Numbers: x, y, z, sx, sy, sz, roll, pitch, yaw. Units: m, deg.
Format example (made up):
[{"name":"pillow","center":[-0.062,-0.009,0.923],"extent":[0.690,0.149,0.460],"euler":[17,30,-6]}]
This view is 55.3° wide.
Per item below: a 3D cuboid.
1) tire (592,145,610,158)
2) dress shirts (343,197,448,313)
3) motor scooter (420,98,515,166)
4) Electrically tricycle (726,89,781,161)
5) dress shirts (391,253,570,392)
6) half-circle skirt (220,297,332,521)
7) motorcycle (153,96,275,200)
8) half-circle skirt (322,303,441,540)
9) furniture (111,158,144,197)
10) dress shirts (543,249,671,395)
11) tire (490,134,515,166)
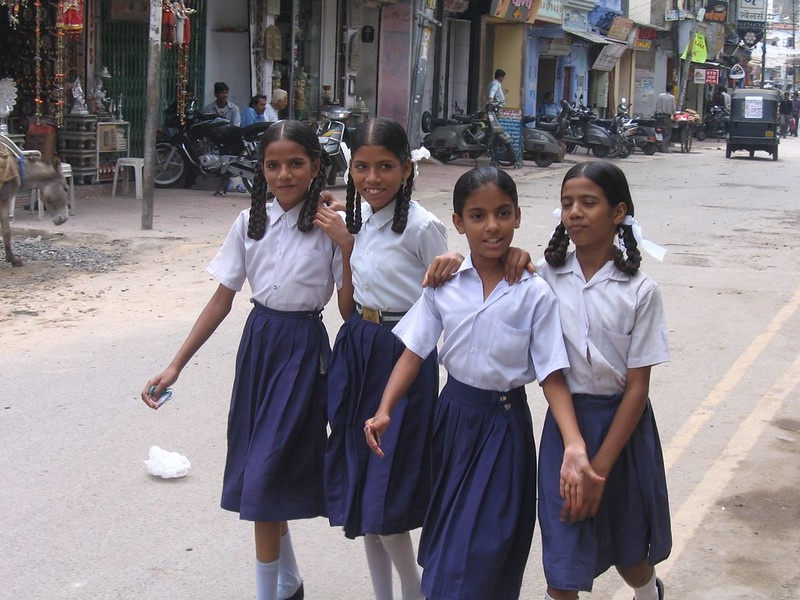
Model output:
[{"name":"tire","center":[5.848,-4.317,22.220],"extent":[0.397,0.387,0.155],"euler":[6,11,37]},{"name":"dress shirts","center":[-0.020,-0.145,2.571],"extent":[0.375,0.351,0.217],"euler":[5,-1,30]},{"name":"motor scooter","center":[1.641,-3.987,18.222],"extent":[2.376,1.417,0.963],"euler":[6,12,22]},{"name":"Electrically tricycle","center":[11.042,-5.573,23.845],"extent":[1.426,1.510,2.418],"euler":[3,18,15]},{"name":"dress shirts","center":[0.252,0.074,2.274],"extent":[0.434,0.301,0.153],"euler":[10,5,21]},{"name":"half-circle skirt","center":[-0.417,0.379,2.581],"extent":[0.364,0.648,0.466],"euler":[0,15,-6]},{"name":"motorcycle","center":[-3.063,-2.546,12.624],"extent":[2.231,1.339,1.024],"euler":[3,2,2]},{"name":"half-circle skirt","center":[-0.072,0.410,2.582],"extent":[0.348,0.717,0.232],"euler":[-2,-15,22]},{"name":"furniture","center":[-4.316,-1.950,12.006],"extent":[0.459,0.603,1.407],"euler":[-4,16,-20]},{"name":"dress shirts","center":[0.576,0.073,2.215],"extent":[0.384,0.371,0.169],"euler":[8,16,23]},{"name":"tire","center":[2.439,-3.488,18.046],"extent":[0.606,0.714,0.607],"euler":[3,15,8]}]
